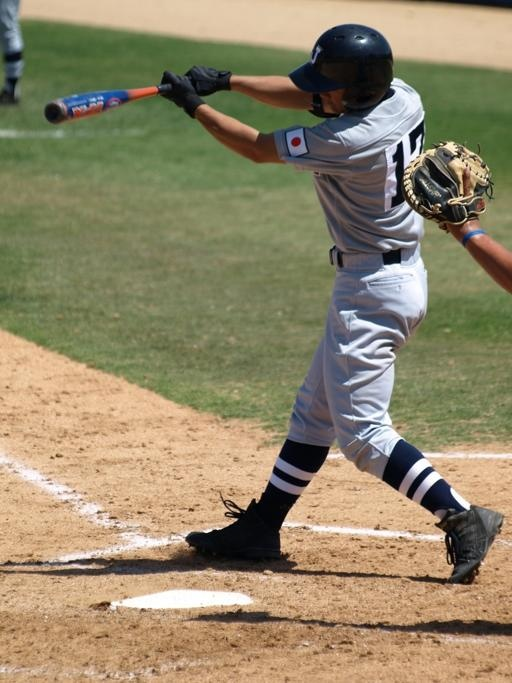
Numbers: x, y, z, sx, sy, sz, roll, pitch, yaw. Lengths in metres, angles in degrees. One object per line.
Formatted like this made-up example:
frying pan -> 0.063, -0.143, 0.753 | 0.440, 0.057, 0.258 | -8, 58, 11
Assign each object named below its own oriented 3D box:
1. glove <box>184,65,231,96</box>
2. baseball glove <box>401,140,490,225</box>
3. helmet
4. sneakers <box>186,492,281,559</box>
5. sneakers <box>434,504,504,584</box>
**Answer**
glove -> -0.178, -0.981, 3.693 | 0.207, 0.121, 0.080 | -2, 7, -8
baseball glove -> 0.526, -0.437, 2.736 | 0.264, 0.115, 0.245 | 14, 43, -5
helmet -> 0.273, -0.874, 3.122 | 0.373, 0.243, 0.232 | -8, 37, -8
sneakers -> -0.056, 0.651, 3.412 | 0.371, 0.192, 0.136 | 1, -2, 23
sneakers -> 0.664, 0.640, 3.022 | 0.188, 0.265, 0.137 | 5, 12, -20
